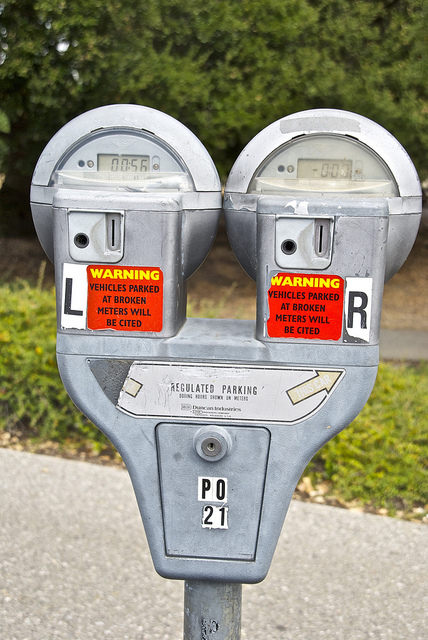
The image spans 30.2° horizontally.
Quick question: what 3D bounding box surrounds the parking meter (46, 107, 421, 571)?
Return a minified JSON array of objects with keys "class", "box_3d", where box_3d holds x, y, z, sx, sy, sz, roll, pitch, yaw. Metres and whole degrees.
[{"class":"parking meter","box_3d":[-0.044,0.028,1.830,0.831,0.906,0.654,12,33,19]}]
